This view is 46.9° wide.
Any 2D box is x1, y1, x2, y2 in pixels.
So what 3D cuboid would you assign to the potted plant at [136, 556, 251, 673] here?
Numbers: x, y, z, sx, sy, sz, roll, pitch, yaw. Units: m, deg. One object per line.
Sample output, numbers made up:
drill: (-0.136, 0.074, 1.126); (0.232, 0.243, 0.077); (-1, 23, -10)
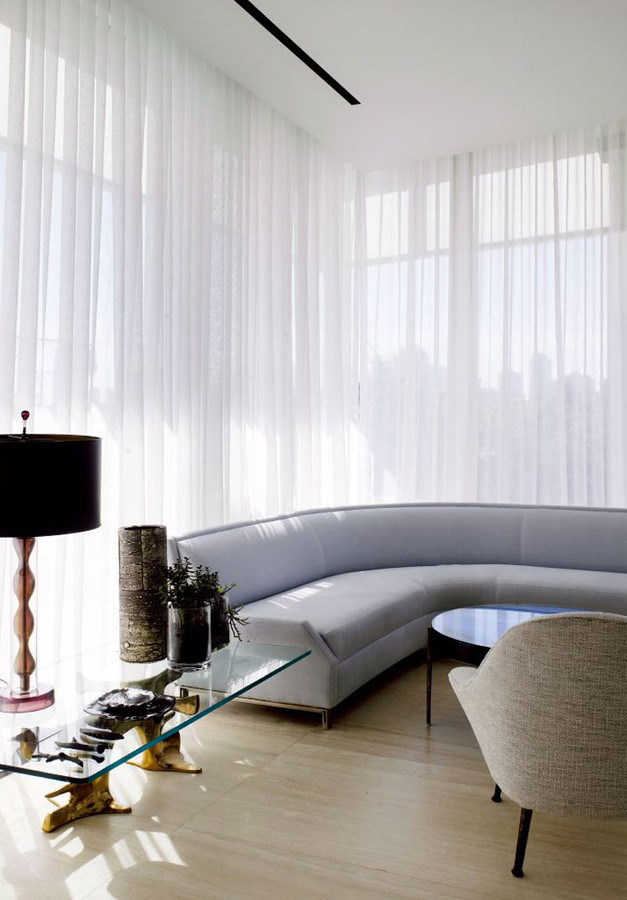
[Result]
potted plant: (-0.335, 0.484, 2.148); (0.190, 0.332, 0.311); (-3, -6, 12)
